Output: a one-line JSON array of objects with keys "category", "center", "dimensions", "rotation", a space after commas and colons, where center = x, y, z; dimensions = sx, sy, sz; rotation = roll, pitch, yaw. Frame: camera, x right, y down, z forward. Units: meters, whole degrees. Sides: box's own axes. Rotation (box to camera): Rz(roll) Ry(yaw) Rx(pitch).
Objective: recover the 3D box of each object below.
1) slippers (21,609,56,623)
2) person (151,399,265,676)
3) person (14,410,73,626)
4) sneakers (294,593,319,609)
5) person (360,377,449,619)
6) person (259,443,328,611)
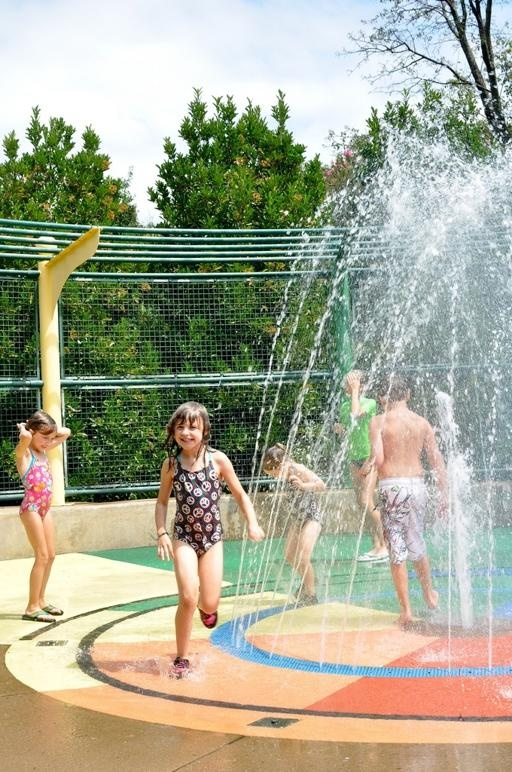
[{"category": "slippers", "center": [-1.445, 1.531, 5.875], "dimensions": [0.259, 0.066, 0.092], "rotation": [-4, -4, 27]}, {"category": "person", "center": [-0.301, 0.756, 4.520], "dimensions": [0.561, 1.349, 0.458], "rotation": [1, -4, -45]}, {"category": "person", "center": [-1.476, 0.875, 6.011], "dimensions": [0.292, 1.394, 0.570], "rotation": [-1, -3, -15]}, {"category": "sneakers", "center": [0.346, 1.486, 6.106], "dimensions": [0.150, 0.092, 0.067], "rotation": [3, -2, 7]}, {"category": "person", "center": [0.926, 0.678, 5.469], "dimensions": [0.525, 1.503, 0.391], "rotation": [1, -3, -36]}, {"category": "person", "center": [0.269, 0.974, 6.280], "dimensions": [0.416, 1.128, 0.998], "rotation": [-1, -3, 3]}]
